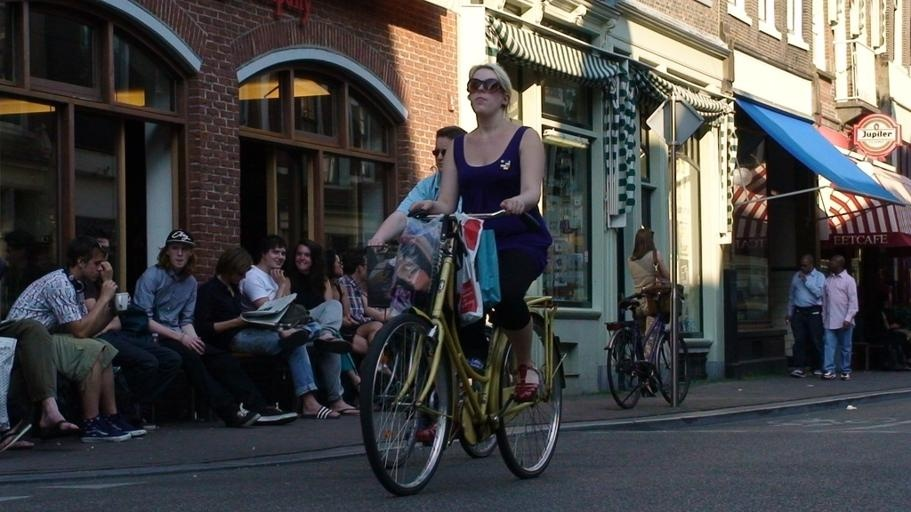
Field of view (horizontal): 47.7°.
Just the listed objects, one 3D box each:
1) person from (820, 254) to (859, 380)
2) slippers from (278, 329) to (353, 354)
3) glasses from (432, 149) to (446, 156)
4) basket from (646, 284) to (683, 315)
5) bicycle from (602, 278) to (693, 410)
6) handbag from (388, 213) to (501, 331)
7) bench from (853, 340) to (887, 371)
[{"bbox_3d":[8.483,1.305,22.791,0.779,2.722,1.257,-4,-6,22],"label":"person"},{"bbox_3d":[-1.984,1.193,14.508,1.130,0.430,0.340,-3,-2,-15],"label":"slippers"},{"bbox_3d":[-0.193,-1.225,12.293,0.140,0.046,0.132,14,-14,-38],"label":"glasses"},{"bbox_3d":[3.455,0.716,17.015,0.565,0.486,0.474,3,-3,15],"label":"basket"},{"bbox_3d":[2.967,1.449,16.648,1.238,1.900,0.877,-1,-6,-7],"label":"bicycle"},{"bbox_3d":[-0.200,0.126,11.023,1.106,1.301,1.122,7,-13,-14],"label":"handbag"},{"bbox_3d":[10.467,2.467,26.092,0.832,0.765,0.613,2,-5,-35],"label":"bench"}]
